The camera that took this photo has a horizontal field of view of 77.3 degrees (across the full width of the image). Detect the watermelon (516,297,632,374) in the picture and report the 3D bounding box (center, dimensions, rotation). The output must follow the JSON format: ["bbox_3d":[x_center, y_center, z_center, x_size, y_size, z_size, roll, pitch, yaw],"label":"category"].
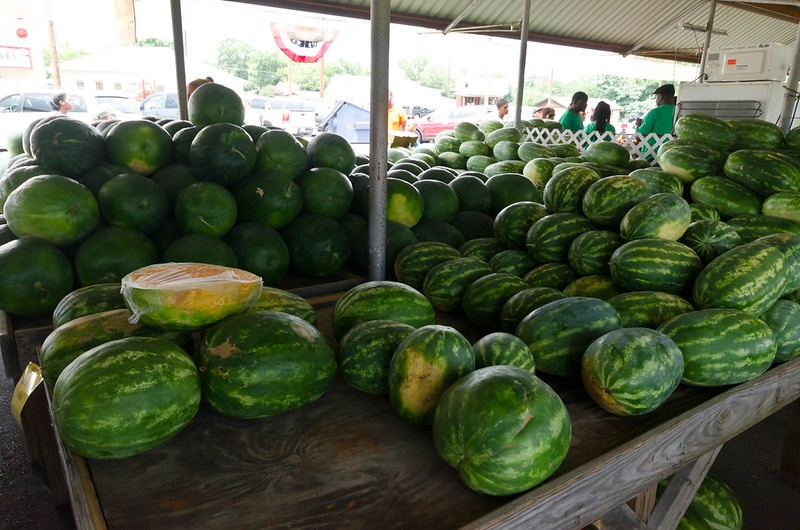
[{"bbox_3d":[0.722,0.264,2.129,0.432,0.238,0.259,-10,15,-22],"label":"watermelon"}]

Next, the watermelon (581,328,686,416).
[{"bbox_3d":[0.886,0.405,1.973,0.391,0.273,0.281,-9,-2,-13],"label":"watermelon"}]

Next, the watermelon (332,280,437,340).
[{"bbox_3d":[-0.078,0.194,2.081,0.386,0.211,0.227,1,-13,-8],"label":"watermelon"}]

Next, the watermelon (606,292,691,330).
[{"bbox_3d":[1.100,0.187,2.276,0.349,0.161,0.177,-4,11,-7],"label":"watermelon"}]

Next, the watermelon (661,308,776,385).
[{"bbox_3d":[1.298,0.330,2.094,0.463,0.256,0.244,-4,41,-19],"label":"watermelon"}]

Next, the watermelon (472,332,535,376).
[{"bbox_3d":[0.382,0.322,1.901,0.193,0.140,0.147,18,-2,35],"label":"watermelon"}]

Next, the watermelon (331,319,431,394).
[{"bbox_3d":[-0.073,0.350,1.913,0.334,0.210,0.189,-8,16,-5],"label":"watermelon"}]
